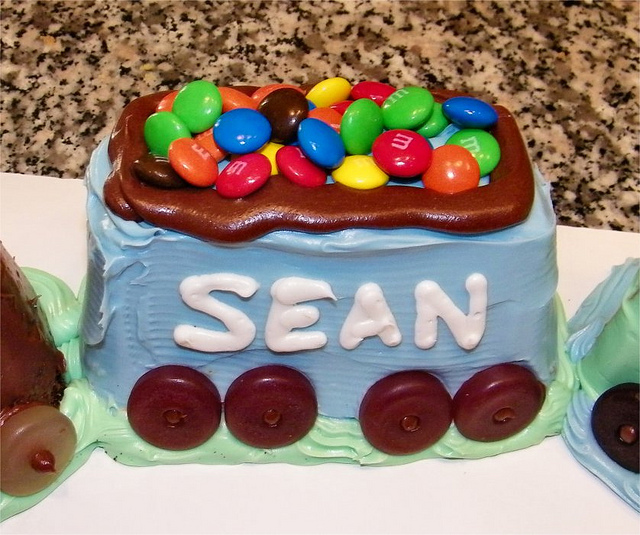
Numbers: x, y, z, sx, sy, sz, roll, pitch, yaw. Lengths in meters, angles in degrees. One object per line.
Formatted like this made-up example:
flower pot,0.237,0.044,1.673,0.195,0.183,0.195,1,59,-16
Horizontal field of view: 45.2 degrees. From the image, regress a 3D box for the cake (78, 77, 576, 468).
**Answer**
cake,0.027,0.010,1.526,1.015,0.506,0.657,0,56,-1
